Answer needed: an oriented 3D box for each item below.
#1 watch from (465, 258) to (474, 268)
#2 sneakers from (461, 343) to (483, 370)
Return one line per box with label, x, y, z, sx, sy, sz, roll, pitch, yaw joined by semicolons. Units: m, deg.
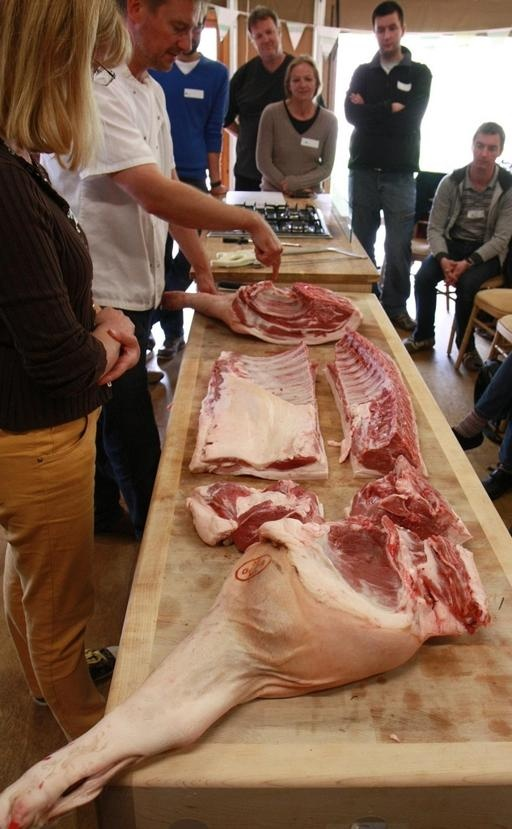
watch;1.598;-1.129;4.920;0.042;0.062;0.017;6;36;7
sneakers;1.653;-0.428;5.024;0.085;0.106;0.247;-2;27;7
